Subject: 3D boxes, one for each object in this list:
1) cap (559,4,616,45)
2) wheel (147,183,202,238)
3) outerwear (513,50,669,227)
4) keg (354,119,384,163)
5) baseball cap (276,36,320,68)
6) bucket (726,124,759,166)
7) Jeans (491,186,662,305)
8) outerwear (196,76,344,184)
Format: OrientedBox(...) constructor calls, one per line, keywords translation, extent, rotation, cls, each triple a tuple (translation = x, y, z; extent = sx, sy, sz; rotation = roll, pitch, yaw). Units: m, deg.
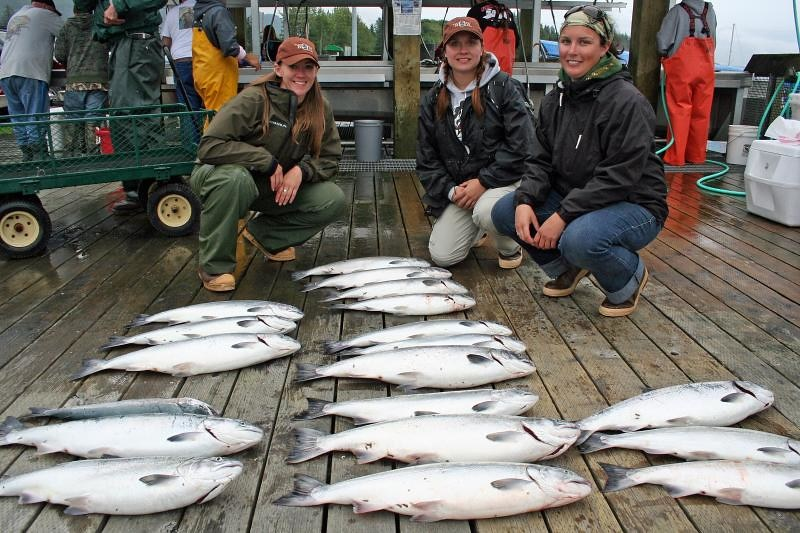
OrientedBox(translation=(1.220, -1.563, 3.506), extent=(0.342, 0.227, 0.149), rotation=(3, 22, 11), cls="cap")
OrientedBox(translation=(-2.028, -0.508, 4.904), extent=(0.568, 0.514, 0.191), rotation=(-1, 10, -7), cls="wheel")
OrientedBox(translation=(1.340, -1.004, 3.942), extent=(1.174, 1.182, 1.054), rotation=(-20, 29, -16), cls="outerwear")
OrientedBox(translation=(-0.445, -1.778, 7.630), extent=(0.586, 0.515, 0.517), rotation=(1, 29, 3), cls="keg")
OrientedBox(translation=(-0.763, -1.555, 3.941), extent=(0.217, 0.141, 0.284), rotation=(-6, 17, -29), cls="baseball cap")
OrientedBox(translation=(4.892, -1.739, 7.796), extent=(0.445, 0.480, 0.512), rotation=(10, 16, 24), cls="bucket")
OrientedBox(translation=(1.398, -0.089, 3.804), extent=(0.870, 0.502, 0.602), rotation=(-1, 57, 4), cls="Jeans")
OrientedBox(translation=(-0.974, -1.093, 4.251), extent=(0.701, 0.679, 1.214), rotation=(29, 21, 36), cls="outerwear")
